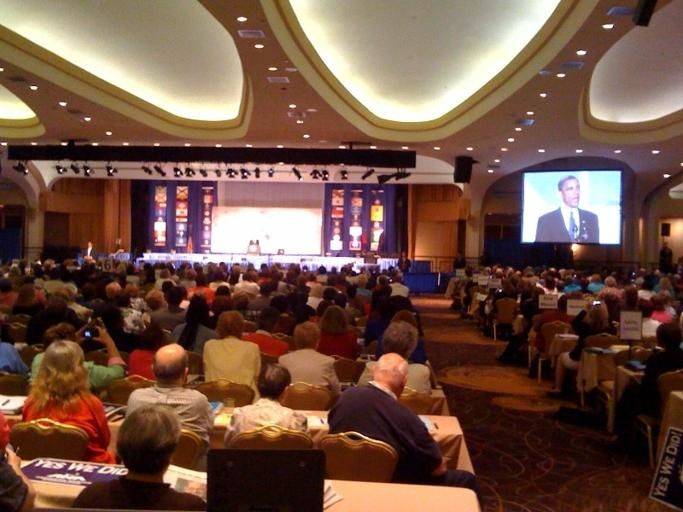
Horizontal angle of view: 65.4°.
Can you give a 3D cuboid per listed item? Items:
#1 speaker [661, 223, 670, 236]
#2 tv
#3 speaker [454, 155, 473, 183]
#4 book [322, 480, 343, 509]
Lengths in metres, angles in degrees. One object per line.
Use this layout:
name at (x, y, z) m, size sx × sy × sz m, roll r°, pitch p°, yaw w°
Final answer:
speaker at (16.184, -1.301, 26.389) m, size 0.448 × 0.756 × 0.159 m, roll 7°, pitch 3°, yaw -8°
tv at (7.831, -1.690, 17.934) m, size 2.450 × 2.028 × 0.096 m, roll 1°, pitch -1°, yaw 20°
speaker at (4.201, -3.024, 18.315) m, size 0.534 × 1.033 × 0.554 m, roll 3°, pitch 39°, yaw 5°
book at (-0.041, 1.280, 2.922) m, size 0.108 × 0.106 × 0.308 m, roll 8°, pitch 3°, yaw 2°
